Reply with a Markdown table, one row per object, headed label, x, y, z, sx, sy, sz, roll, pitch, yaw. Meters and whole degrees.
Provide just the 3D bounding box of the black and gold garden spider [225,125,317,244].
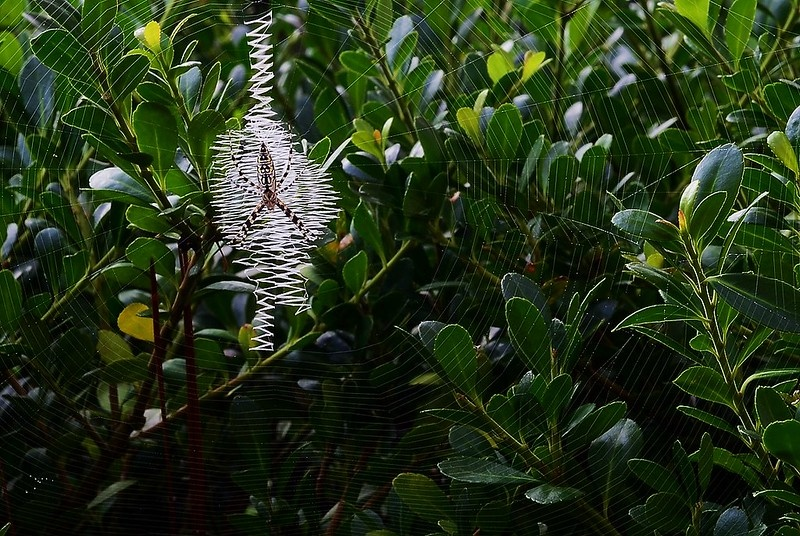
| label | x | y | z | sx | sy | sz | roll | pitch | yaw |
| --- | --- | --- | --- | --- | --- | --- | --- | --- | --- |
| black and gold garden spider | -0.553 | -0.288 | 3.471 | 0.237 | 0.088 | 0.353 | 34 | -14 | 51 |
